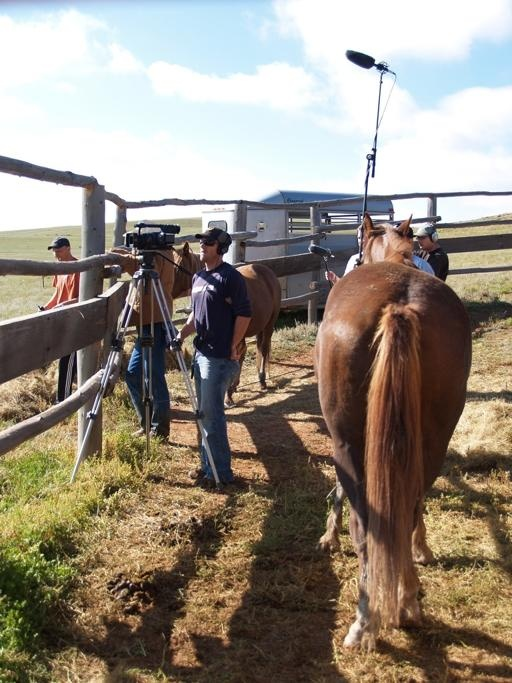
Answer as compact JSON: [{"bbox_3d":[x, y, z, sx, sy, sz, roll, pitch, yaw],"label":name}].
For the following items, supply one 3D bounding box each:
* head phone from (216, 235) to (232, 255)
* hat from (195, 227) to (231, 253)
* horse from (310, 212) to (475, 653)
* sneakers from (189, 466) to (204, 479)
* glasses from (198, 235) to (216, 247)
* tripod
[{"bbox_3d":[-0.240,-0.719,4.245,0.119,0.145,0.078,8,9,-13],"label":"head phone"},{"bbox_3d":[-0.302,-0.750,4.250,0.234,0.151,0.187,-3,20,-41],"label":"hat"},{"bbox_3d":[0.629,0.475,2.749,0.717,1.721,0.934,2,8,6],"label":"horse"},{"bbox_3d":[-0.462,1.041,4.496,0.170,0.098,0.047,-4,8,-36],"label":"sneakers"},{"bbox_3d":[-0.369,-0.730,4.205,0.111,0.105,0.072,-9,6,-8],"label":"glasses"},{"bbox_3d":[-0.887,0.189,4.422,1.071,1.754,1.368,-1,8,-17],"label":"tripod"}]
